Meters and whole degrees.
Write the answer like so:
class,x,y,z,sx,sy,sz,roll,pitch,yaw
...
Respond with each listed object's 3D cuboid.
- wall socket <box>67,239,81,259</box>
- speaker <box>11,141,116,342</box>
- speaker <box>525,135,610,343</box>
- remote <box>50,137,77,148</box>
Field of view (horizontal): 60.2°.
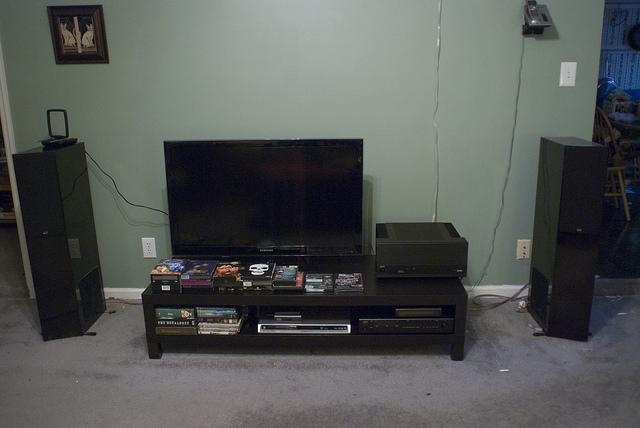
class,x,y,z,sx,sy,sz,roll,pitch,yaw
wall socket,-1.708,0.239,3.841,0.024,0.172,0.133,-2,7,21
speaker,-1.845,0.193,3.971,0.523,1.321,0.462,-2,10,11
speaker,1.683,0.167,3.807,0.659,1.306,0.229,0,24,-1
remote,-1.762,-0.499,3.814,0.023,0.048,0.192,4,16,25
